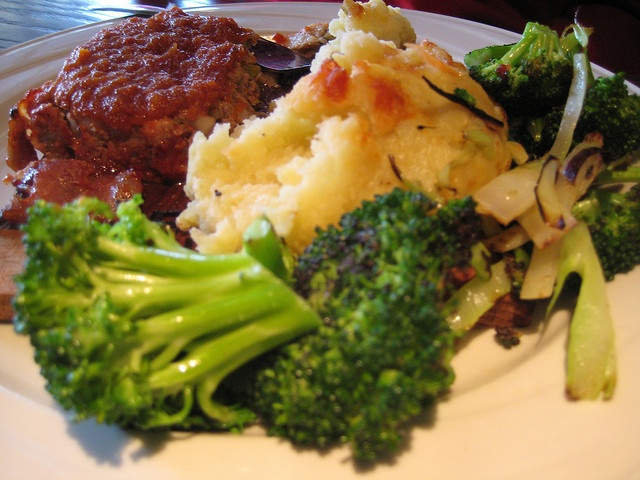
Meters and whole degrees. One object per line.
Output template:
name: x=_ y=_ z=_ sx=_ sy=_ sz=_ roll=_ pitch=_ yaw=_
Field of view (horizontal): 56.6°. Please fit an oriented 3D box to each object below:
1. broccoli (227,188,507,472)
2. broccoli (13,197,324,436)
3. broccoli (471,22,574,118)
broccoli: x=0.214 y=0.354 z=2.585 sx=0.759 sy=0.853 sz=1.045 roll=30 pitch=48 yaw=26
broccoli: x=-0.642 y=0.200 z=2.624 sx=1.136 sy=0.971 sz=0.665 roll=37 pitch=43 yaw=-11
broccoli: x=1.170 y=-0.937 z=3.491 sx=0.545 sy=0.613 sz=0.332 roll=-2 pitch=22 yaw=6
